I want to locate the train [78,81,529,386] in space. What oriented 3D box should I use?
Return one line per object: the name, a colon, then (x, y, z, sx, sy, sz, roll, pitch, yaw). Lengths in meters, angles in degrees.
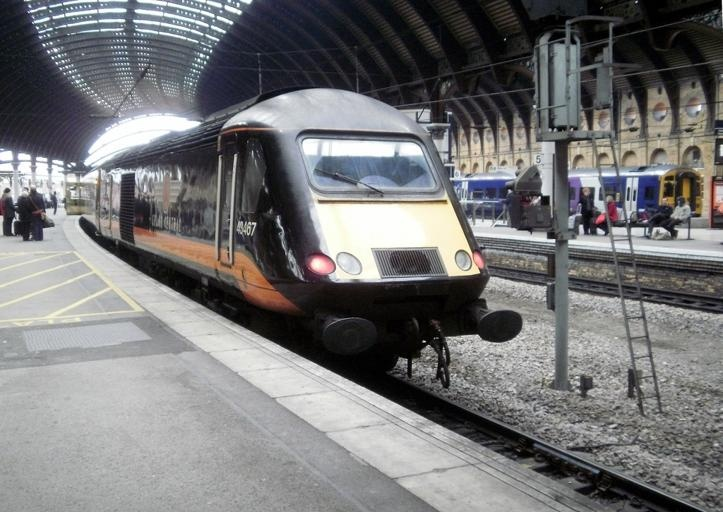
train: (-3.300, -0.918, 12.292, 2.934, 3.883, 14.860, -2, 4, -29)
